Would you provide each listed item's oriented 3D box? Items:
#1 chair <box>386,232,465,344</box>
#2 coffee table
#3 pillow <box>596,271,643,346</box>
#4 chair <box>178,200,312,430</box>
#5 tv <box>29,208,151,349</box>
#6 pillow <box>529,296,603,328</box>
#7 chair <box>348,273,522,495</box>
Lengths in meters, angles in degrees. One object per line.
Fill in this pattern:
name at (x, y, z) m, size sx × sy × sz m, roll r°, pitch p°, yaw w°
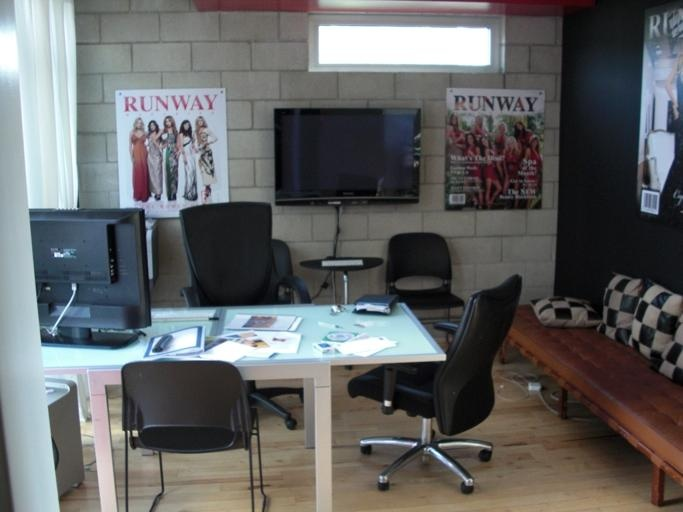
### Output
chair at (0.650, 0.314, 4.875) m, size 0.611 × 0.900 × 0.623 m, roll -2°, pitch 13°, yaw -3°
coffee table at (0.048, 0.253, 4.707) m, size 0.569 × 0.407 × 0.536 m, roll 5°, pitch 14°, yaw 40°
pillow at (1.836, 0.361, 3.989) m, size 0.206 × 0.353 × 0.391 m, roll -10°, pitch 9°, yaw 0°
chair at (-0.595, 0.249, 3.582) m, size 0.794 × 1.375 × 0.886 m, roll -8°, pitch -3°, yaw -20°
tv at (-1.131, 0.091, 2.712) m, size 0.562 × 0.575 × 0.294 m, roll 1°, pitch 13°, yaw 1°
pillow at (1.586, 0.403, 4.260) m, size 0.256 × 0.101 × 0.293 m, roll -3°, pitch 14°, yaw 0°
chair at (0.460, 0.641, 3.185) m, size 0.768 × 1.040 × 0.747 m, roll 6°, pitch 11°, yaw 43°
